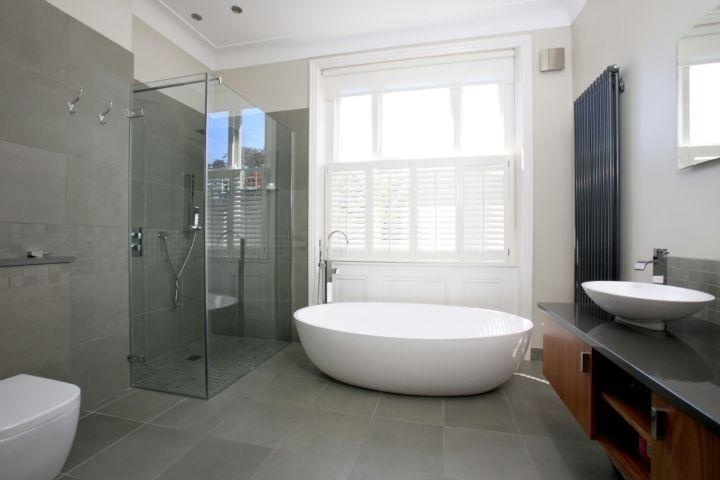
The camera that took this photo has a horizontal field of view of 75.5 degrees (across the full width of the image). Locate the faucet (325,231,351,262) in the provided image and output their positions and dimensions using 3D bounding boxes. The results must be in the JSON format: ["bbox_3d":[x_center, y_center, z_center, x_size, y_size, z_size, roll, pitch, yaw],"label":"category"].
[{"bbox_3d":[-0.239,0.037,4.840,0.252,0.313,0.184,-1,3,1],"label":"faucet"}]

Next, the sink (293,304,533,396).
[{"bbox_3d":[0.457,0.927,4.037,1.931,0.634,0.849,0,3,17],"label":"sink"}]

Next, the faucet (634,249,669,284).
[{"bbox_3d":[2.004,0.197,3.190,0.222,0.263,0.097,-7,7,-22],"label":"faucet"}]

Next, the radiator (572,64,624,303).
[{"bbox_3d":[1.965,-0.420,3.927,0.201,1.934,0.641,-1,3,0],"label":"radiator"}]
